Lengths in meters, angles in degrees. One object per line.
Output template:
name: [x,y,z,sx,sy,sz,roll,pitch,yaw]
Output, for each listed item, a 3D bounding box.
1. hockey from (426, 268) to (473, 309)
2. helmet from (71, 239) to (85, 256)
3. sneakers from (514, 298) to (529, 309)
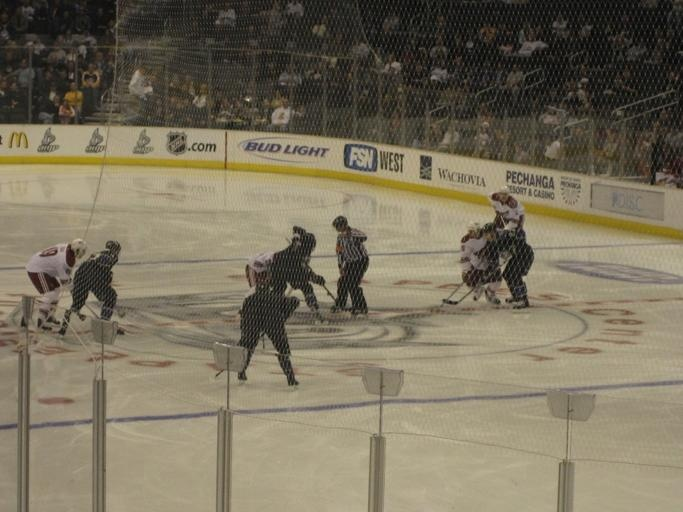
hockey: [1.618,0.474,20.039,0.172,0.556,0.343,43,-7,-26]
helmet: [-3.324,-0.121,18.496,0.178,0.197,0.205,-1,30,-32]
sneakers: [2.419,0.641,19.782,0.213,0.133,0.152,5,15,13]
